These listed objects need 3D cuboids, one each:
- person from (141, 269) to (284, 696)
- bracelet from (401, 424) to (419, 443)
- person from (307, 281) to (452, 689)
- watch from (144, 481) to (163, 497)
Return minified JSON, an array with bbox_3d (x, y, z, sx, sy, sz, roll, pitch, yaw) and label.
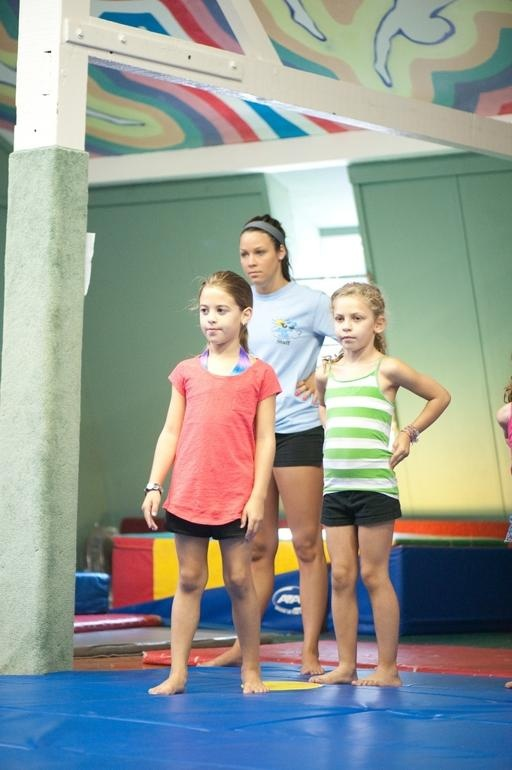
[{"bbox_3d":[-0.113,0.256,1.821,0.383,1.119,0.363,-3,0,-2],"label":"person"},{"bbox_3d":[0.485,0.160,2.098,0.030,0.055,0.055,-44,-23,-27],"label":"bracelet"},{"bbox_3d":[0.324,0.277,2.104,0.445,1.212,0.377,-3,0,-41],"label":"person"},{"bbox_3d":[-0.276,0.274,1.779,0.056,0.031,0.050,2,-9,-5],"label":"watch"}]
